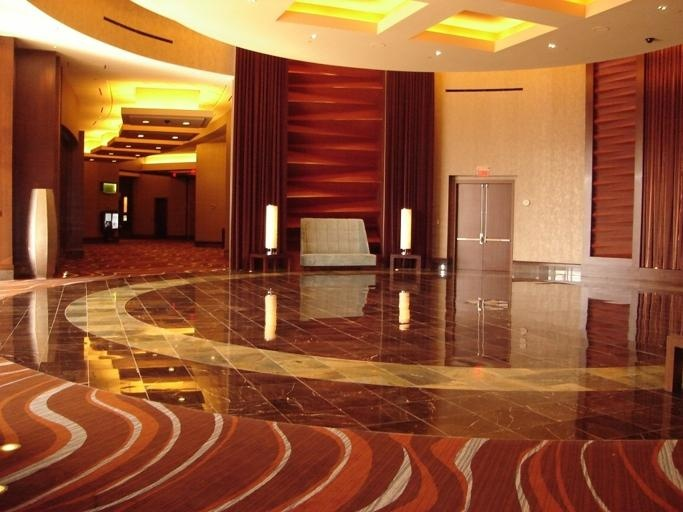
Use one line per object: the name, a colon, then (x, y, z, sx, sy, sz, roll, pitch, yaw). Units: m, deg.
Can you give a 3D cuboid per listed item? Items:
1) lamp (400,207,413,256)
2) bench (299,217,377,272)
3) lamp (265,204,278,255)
lamp: (1.533, -0.596, 12.192, 0.296, 1.092, 0.622, 3, 4, 6)
bench: (-0.087, -0.271, 11.271, 1.613, 0.958, 0.797, 0, 10, -18)
lamp: (-1.558, -0.594, 11.403, 0.301, 1.082, 0.526, 2, 4, -9)
